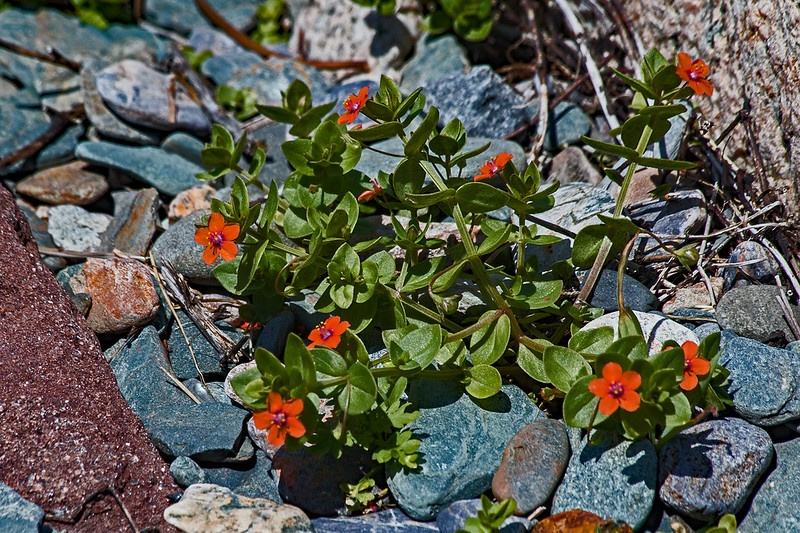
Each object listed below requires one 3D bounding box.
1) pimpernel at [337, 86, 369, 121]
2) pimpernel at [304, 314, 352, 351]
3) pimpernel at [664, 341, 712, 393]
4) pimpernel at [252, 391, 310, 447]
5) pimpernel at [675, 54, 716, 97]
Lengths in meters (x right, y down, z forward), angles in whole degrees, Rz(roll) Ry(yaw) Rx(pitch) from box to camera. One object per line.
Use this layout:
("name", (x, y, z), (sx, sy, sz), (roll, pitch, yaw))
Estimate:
("pimpernel", (-0.284, -1.027, 5.180), (0.103, 0.235, 0.267), (27, 78, 1))
("pimpernel", (-0.431, 0.394, 4.725), (0.082, 0.188, 0.208), (47, 48, -41))
("pimpernel", (1.635, 0.560, 4.547), (0.245, 0.067, 0.281), (0, 77, 9))
("pimpernel", (-0.649, 0.829, 4.419), (0.286, 0.200, 0.191), (27, 38, -8))
("pimpernel", (1.795, -1.130, 4.876), (0.099, 0.216, 0.229), (-21, 44, -17))
